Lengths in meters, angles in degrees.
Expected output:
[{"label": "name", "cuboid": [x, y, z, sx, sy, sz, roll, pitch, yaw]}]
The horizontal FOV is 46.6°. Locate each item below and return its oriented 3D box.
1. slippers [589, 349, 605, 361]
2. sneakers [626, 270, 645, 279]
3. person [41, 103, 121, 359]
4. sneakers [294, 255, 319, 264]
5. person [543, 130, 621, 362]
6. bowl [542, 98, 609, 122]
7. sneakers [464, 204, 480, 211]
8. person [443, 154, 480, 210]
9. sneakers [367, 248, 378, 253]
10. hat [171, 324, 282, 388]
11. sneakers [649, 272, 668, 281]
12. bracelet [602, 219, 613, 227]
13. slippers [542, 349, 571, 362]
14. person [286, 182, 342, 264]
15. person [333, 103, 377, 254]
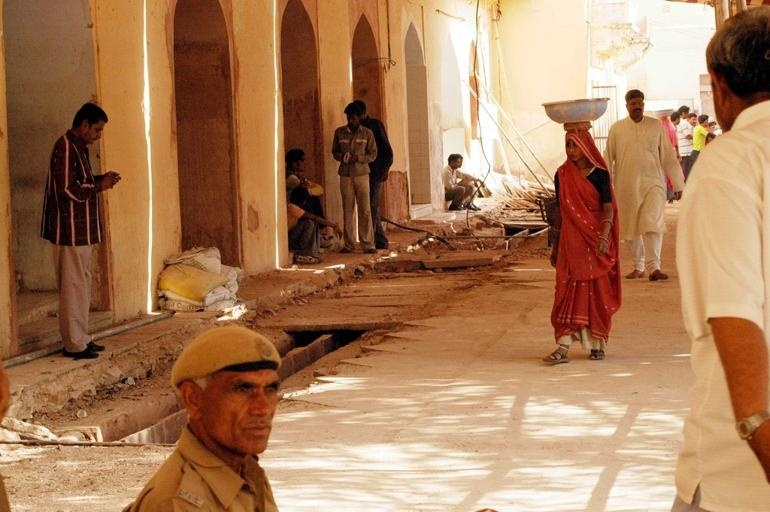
[{"label": "slippers", "cuboid": [1.773, 0.824, 7.456, 0.091, 0.067, 0.163, -1, -4, 5]}, {"label": "sneakers", "cuboid": [3.092, 0.233, 11.053, 0.207, 0.165, 0.097, 4, -2, -4]}, {"label": "person", "cuboid": [-2.580, -0.219, 7.626, 0.617, 2.126, 0.431, -10, 11, -37]}, {"label": "sneakers", "cuboid": [-1.110, 0.048, 12.742, 0.367, 0.154, 0.134, -3, 2, -3]}, {"label": "person", "cuboid": [1.613, -0.077, 7.344, 0.601, 1.908, 0.448, -2, 9, 13]}, {"label": "bowl", "cuboid": [2.849, -2.152, 13.226, 0.974, 0.312, 0.669, 1, 9, 26]}, {"label": "sneakers", "cuboid": [2.007, -1.111, 20.516, 0.387, 0.130, 0.298, -1, 2, 1]}, {"label": "person", "cuboid": [1.789, -1.788, 21.245, 0.767, 1.227, 1.329, -3, 8, 5]}, {"label": "sneakers", "cuboid": [-0.197, -0.083, 13.621, 0.123, 0.044, 0.079, -6, 7, 12]}, {"label": "hat", "cuboid": [-0.624, 0.357, 3.604, 0.407, 0.154, 0.391, -3, 1, 12]}, {"label": "sneakers", "cuboid": [3.289, 0.249, 10.791, 0.247, 0.118, 0.089, -10, -2, 10]}, {"label": "bracelet", "cuboid": [1.810, -0.279, 7.243, 0.084, 0.047, 0.070, -3, 8, 1]}, {"label": "slippers", "cuboid": [1.439, 0.824, 7.471, 0.238, 0.106, 0.093, 0, 0, -30]}, {"label": "person", "cuboid": [-1.068, -0.476, 12.828, 0.670, 1.085, 0.580, -11, 11, -40]}, {"label": "person", "cuboid": [-0.450, -1.148, 13.385, 0.644, 2.248, 0.552, -1, 9, 16]}]
